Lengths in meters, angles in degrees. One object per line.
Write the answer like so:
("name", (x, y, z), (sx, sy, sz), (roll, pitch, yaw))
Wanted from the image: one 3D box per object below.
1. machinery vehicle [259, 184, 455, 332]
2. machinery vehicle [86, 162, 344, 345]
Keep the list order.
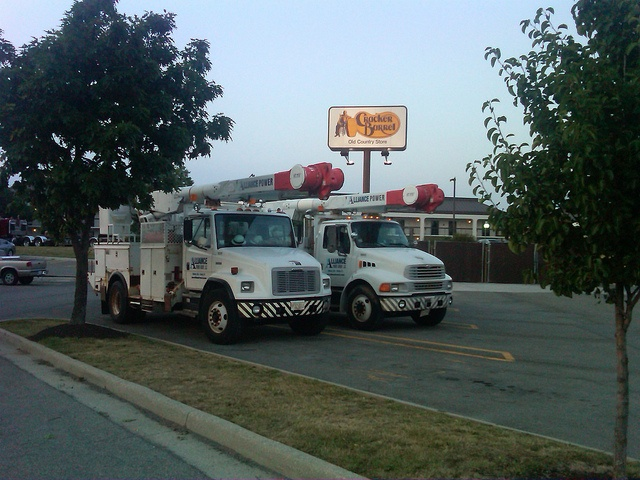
("machinery vehicle", (0.370, 0.530, 16.460), (2.880, 3.862, 7.147), (7, -6, -42))
("machinery vehicle", (-3.018, 0.418, 14.367), (7.767, 3.873, 3.064), (-2, -8, 45))
